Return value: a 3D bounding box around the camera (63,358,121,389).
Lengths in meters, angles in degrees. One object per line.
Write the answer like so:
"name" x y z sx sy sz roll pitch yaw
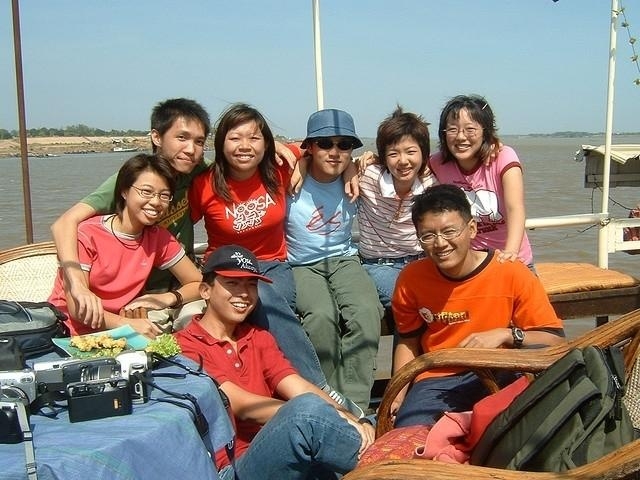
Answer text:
"camera" -0.955 0.567 2.354 0.274 0.119 0.362 3 -6 -24

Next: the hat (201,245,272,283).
"hat" -0.472 0.131 3.240 0.271 0.131 0.207 3 -2 35

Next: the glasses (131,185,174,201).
"glasses" -1.028 -0.285 3.473 0.224 0.108 0.103 -5 4 -20

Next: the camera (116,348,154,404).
"camera" -0.734 0.533 2.315 0.183 0.171 0.172 15 15 -10

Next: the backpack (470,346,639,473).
"backpack" 1.005 0.753 2.430 0.579 0.252 0.578 -40 7 3

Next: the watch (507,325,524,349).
"watch" 1.125 0.560 3.274 0.081 0.097 0.105 8 43 0

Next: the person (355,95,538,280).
"person" 0.861 -0.304 4.015 0.944 1.437 0.881 -10 19 33
